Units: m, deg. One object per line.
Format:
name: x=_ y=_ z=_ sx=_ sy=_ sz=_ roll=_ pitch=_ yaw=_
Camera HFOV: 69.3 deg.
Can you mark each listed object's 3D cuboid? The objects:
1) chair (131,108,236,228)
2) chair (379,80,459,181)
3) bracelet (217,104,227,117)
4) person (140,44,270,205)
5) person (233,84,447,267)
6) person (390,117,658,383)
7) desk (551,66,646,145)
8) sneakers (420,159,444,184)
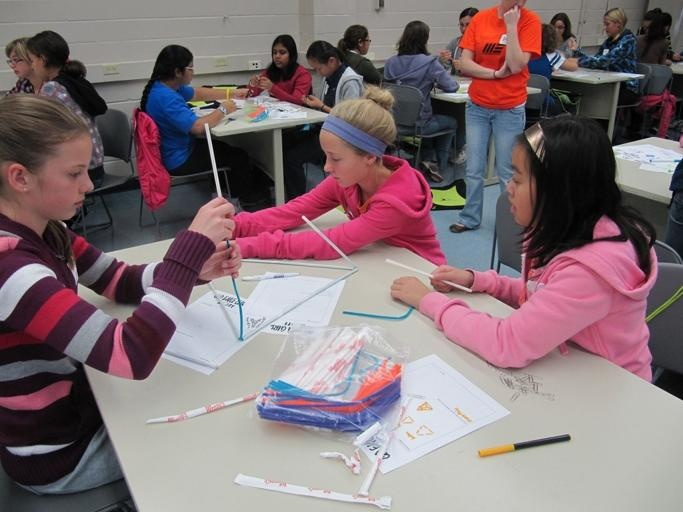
chair: x=-1.254 y=-0.734 z=3.638 sx=0.482 sy=0.673 sz=0.508 roll=25 pitch=37 yaw=28
chair: x=0.752 y=-1.133 z=4.592 sx=0.585 sy=0.873 sz=0.583 roll=-12 pitch=21 yaw=-22
bracelet: x=-0.886 y=-1.075 z=3.650 sx=0.061 sy=0.121 sz=0.086 roll=-8 pitch=27 yaw=-9
person: x=-1.057 y=-0.917 z=3.796 sx=0.842 sy=1.270 sz=0.511 roll=-14 pitch=27 yaw=-17
person: x=-0.007 y=-0.276 z=1.949 sx=0.940 sy=0.742 sz=0.433 roll=-8 pitch=31 yaw=-23
person: x=0.520 y=-0.258 z=1.742 sx=0.775 sy=1.270 sz=0.565 roll=4 pitch=27 yaw=13
desk: x=2.710 y=-1.717 z=5.632 sx=0.620 sy=0.631 sz=1.214 roll=-9 pitch=23 yaw=-11
sneakers: x=0.861 y=-0.818 z=4.808 sx=0.172 sy=0.263 sz=0.116 roll=-36 pitch=18 yaw=-36
